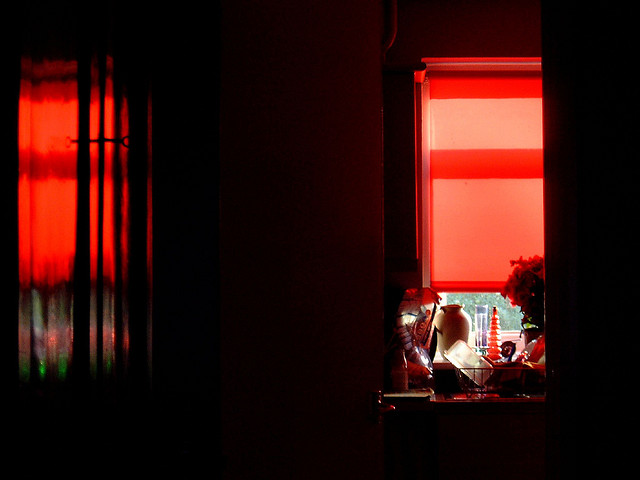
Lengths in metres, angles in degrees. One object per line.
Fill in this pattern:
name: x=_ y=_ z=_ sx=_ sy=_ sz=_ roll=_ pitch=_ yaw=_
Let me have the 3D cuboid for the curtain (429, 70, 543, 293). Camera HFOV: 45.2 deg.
curtain: x=0.755 y=-0.230 z=3.435 sx=0.690 sy=0.969 sz=0.031 roll=-4 pitch=8 yaw=-18

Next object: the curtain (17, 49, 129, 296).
curtain: x=-0.675 y=-0.140 z=2.185 sx=0.299 sy=0.718 sz=0.046 roll=2 pitch=-2 yaw=-30

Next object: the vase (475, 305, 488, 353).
vase: x=0.716 y=0.380 z=3.430 sx=0.055 sy=0.197 sz=0.095 roll=-5 pitch=-1 yaw=14

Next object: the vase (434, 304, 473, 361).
vase: x=0.560 y=0.393 z=3.352 sx=0.190 sy=0.327 sz=0.225 roll=2 pitch=-5 yaw=9

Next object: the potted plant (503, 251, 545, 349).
potted plant: x=0.838 y=0.249 z=3.129 sx=0.173 sy=0.381 sz=0.187 roll=-5 pitch=-1 yaw=26
